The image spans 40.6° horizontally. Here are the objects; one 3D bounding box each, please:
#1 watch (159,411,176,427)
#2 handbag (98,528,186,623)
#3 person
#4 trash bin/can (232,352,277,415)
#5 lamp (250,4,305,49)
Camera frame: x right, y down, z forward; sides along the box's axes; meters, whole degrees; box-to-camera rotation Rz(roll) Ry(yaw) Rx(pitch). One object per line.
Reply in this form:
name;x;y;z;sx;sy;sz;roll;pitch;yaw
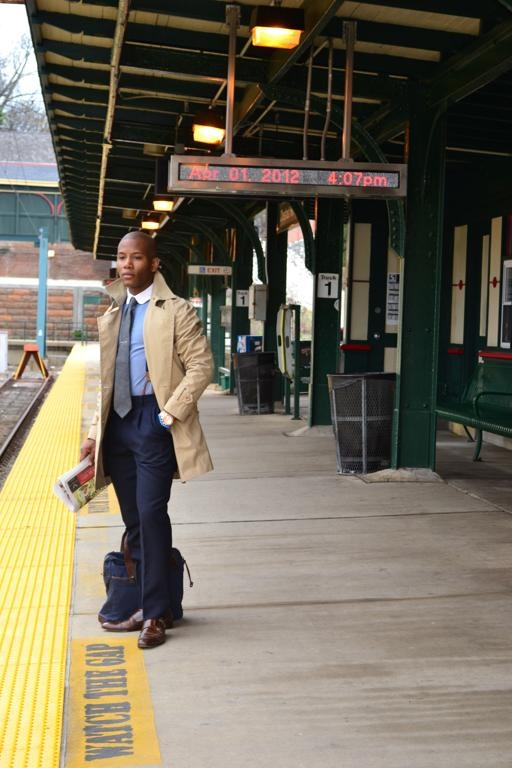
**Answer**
watch;-0.365;0.155;2.829;0.060;0.032;0.061;46;-15;13
handbag;-0.507;0.873;3.067;0.465;0.539;0.273;0;-3;2
person;-0.463;0.220;3.004;0.605;1.761;0.365;4;3;37
trash bin/can;-0.016;0.009;12.397;0.913;1.344;0.927;-1;-1;-7
lamp;0.141;-2.613;5.139;0.318;0.340;0.319;3;10;-7
